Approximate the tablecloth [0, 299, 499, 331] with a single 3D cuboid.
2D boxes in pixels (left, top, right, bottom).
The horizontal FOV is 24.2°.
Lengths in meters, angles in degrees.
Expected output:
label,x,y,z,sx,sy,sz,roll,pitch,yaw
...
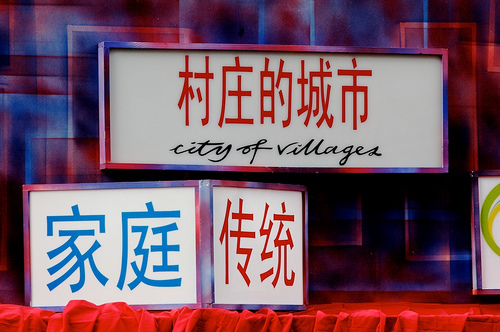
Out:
label,x,y,z,sx,sy,sz,roll,pitch,yaw
tablecloth,-0.081,0.938,7.226,1.973,0.261,0.085,1,2,-5
